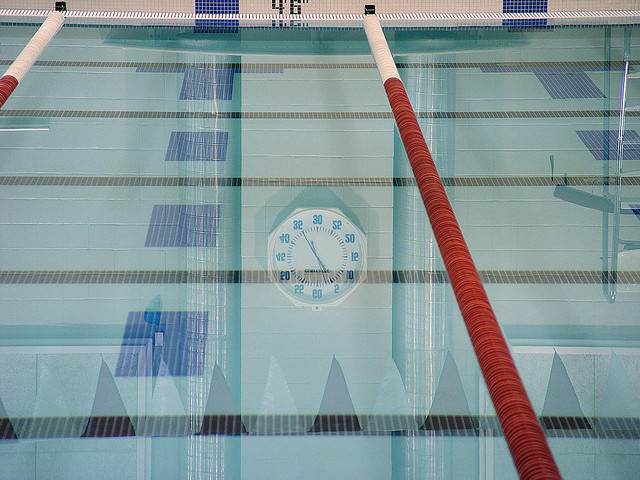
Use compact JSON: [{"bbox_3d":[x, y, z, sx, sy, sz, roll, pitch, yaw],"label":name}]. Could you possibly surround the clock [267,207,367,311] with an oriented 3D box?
[{"bbox_3d":[-0.016,0.050,3.178,0.322,0.311,0.341,1,2,3],"label":"clock"}]
